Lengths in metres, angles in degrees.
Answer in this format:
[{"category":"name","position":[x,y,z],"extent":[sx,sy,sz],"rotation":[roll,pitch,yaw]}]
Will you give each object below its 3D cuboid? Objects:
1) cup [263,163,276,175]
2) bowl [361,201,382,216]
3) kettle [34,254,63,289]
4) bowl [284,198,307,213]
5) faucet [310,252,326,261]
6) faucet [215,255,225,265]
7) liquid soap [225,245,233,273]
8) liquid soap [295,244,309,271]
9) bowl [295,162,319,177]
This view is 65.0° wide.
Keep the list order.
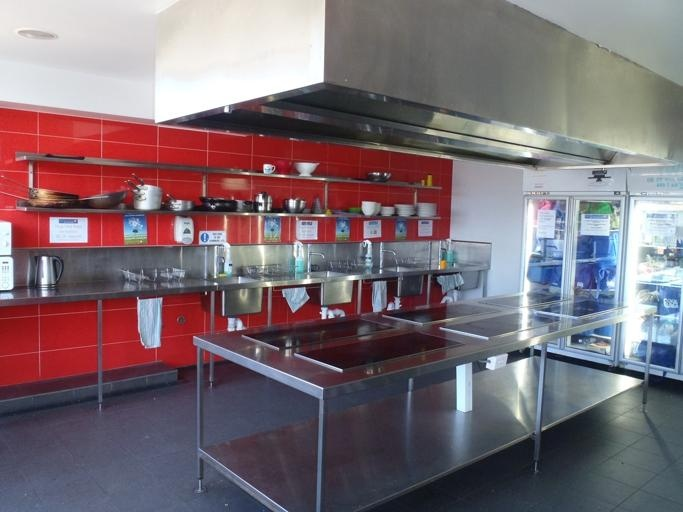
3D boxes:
[{"category":"cup","position":[-0.749,-0.906,5.606],"extent":[0.112,0.098,0.175],"rotation":[0,1,44]},{"category":"bowl","position":[0.345,-0.555,6.315],"extent":[0.226,0.117,0.196],"rotation":[0,5,-20]},{"category":"kettle","position":[-2.480,0.132,4.542],"extent":[0.225,0.263,0.238],"rotation":[-1,13,-26]},{"category":"bowl","position":[-0.486,-0.533,5.720],"extent":[0.216,0.081,0.177],"rotation":[2,4,8]},{"category":"faucet","position":[-0.288,0.005,6.136],"extent":[0.127,0.102,0.216],"rotation":[8,11,18]},{"category":"faucet","position":[-1.248,0.063,5.511],"extent":[0.100,0.124,0.055],"rotation":[4,13,-4]},{"category":"liquid soap","position":[-1.160,0.026,5.500],"extent":[0.101,0.316,0.139],"rotation":[3,13,-11]},{"category":"liquid soap","position":[-0.451,0.013,5.962],"extent":[0.143,0.341,0.245],"rotation":[6,12,-1]},{"category":"bowl","position":[-0.375,-0.931,5.795],"extent":[0.201,0.094,0.231],"rotation":[7,11,42]}]
